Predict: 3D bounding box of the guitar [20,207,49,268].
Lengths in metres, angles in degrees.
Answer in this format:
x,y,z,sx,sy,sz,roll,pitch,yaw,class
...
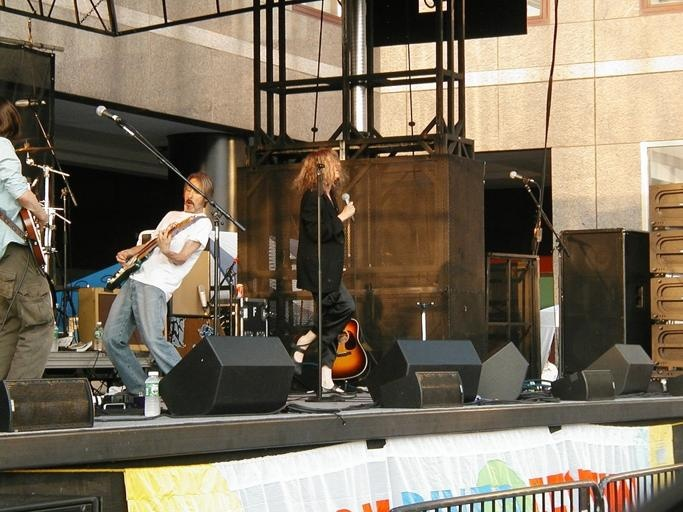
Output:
x,y,z,sx,sy,sz,roll,pitch,yaw,class
-2.369,-0.147,9.491,0.084,0.359,0.346,-13,-19,-9,guitar

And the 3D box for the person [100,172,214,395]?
x,y,z,sx,sy,sz,roll,pitch,yaw,class
-1.512,0.208,9.949,0.830,1.587,0.933,-1,0,5,person

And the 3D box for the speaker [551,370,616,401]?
x,y,z,sx,sy,sz,roll,pitch,yaw,class
2.047,1.049,10.605,0.321,0.201,0.315,1,-3,-35,speaker

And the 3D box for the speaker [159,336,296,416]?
x,y,z,sx,sy,sz,roll,pitch,yaw,class
-0.824,0.956,9.198,0.685,0.529,0.672,-5,-9,42,speaker

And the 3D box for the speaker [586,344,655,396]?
x,y,z,sx,sy,sz,roll,pitch,yaw,class
2.504,1.033,11.330,0.410,0.502,0.560,3,-3,-38,speaker

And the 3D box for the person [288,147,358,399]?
x,y,z,sx,sy,sz,roll,pitch,yaw,class
-0.163,0.114,10.768,0.549,1.962,0.974,-1,0,-2,person

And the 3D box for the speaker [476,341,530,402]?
x,y,z,sx,sy,sz,roll,pitch,yaw,class
1.353,0.965,10.368,0.435,0.480,0.252,-1,0,-7,speaker

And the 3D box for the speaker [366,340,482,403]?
x,y,z,sx,sy,sz,roll,pitch,yaw,class
0.589,0.832,9.819,0.619,0.428,0.574,1,-3,-37,speaker

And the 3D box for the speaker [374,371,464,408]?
x,y,z,sx,sy,sz,roll,pitch,yaw,class
0.601,1.040,9.671,0.678,0.272,0.257,-1,-1,1,speaker

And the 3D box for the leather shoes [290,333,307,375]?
x,y,z,sx,sy,sz,roll,pitch,yaw,class
-0.365,0.845,10.807,0.084,0.362,0.121,-9,21,-23,leather shoes
